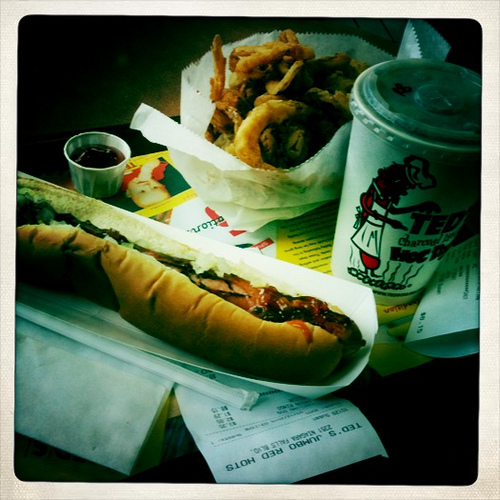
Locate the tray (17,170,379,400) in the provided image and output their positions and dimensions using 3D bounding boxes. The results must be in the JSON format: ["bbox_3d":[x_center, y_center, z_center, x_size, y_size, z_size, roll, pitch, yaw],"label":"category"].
[{"bbox_3d":[-0.085,0.059,0.637,0.663,0.097,0.154,15,66,5],"label":"tray"}]

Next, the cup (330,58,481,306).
[{"bbox_3d":[0.192,-0.071,0.629,0.158,0.321,0.131,5,31,7],"label":"cup"}]

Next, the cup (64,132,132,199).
[{"bbox_3d":[-0.217,-0.121,0.709,0.098,0.061,0.078,-14,60,-22],"label":"cup"}]

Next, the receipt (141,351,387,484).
[{"bbox_3d":[-0.005,0.188,0.584,0.209,0.015,0.130,41,73,12],"label":"receipt"}]
